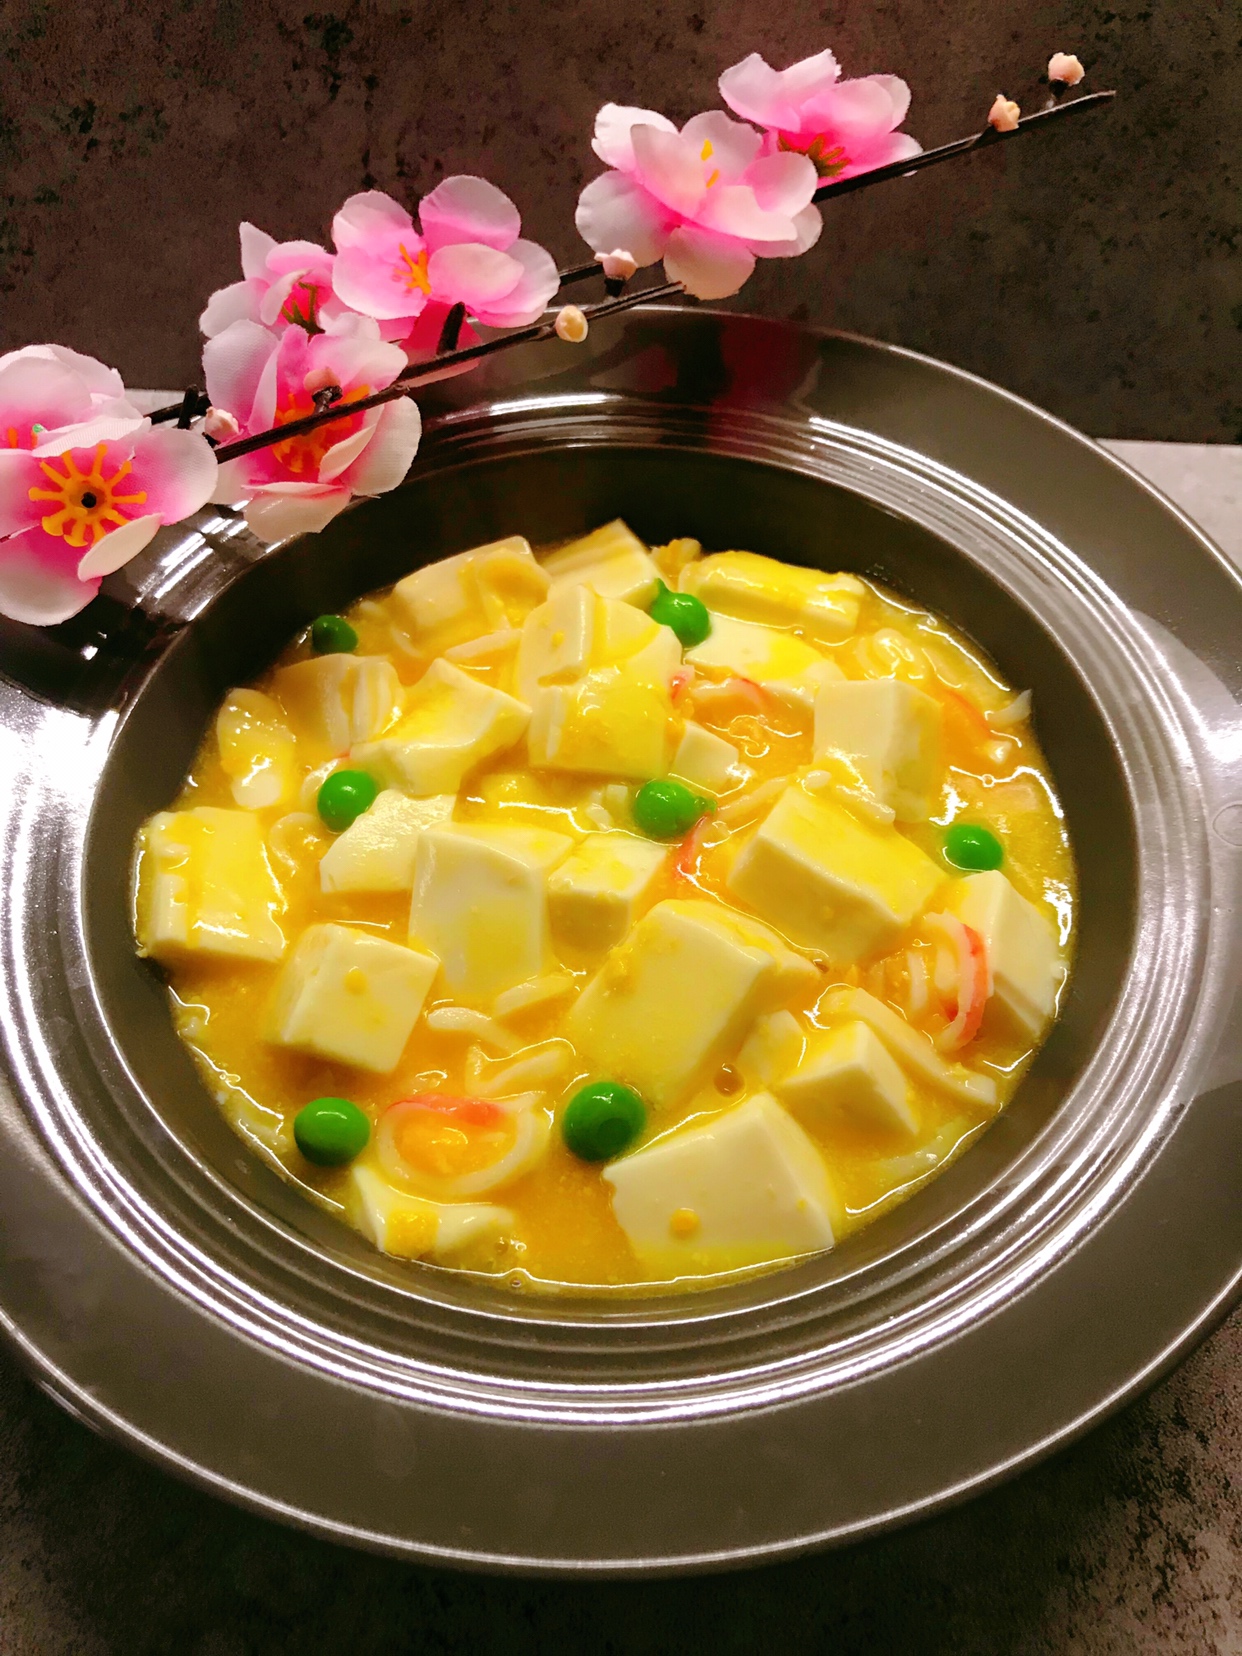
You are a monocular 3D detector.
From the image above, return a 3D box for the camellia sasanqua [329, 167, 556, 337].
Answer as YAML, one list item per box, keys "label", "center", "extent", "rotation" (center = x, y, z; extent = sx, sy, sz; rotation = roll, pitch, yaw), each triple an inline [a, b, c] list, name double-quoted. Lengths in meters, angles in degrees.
- label: "camellia sasanqua"
  center: [-0.227, -0.692, 2.024]
  extent: [0.279, 0.119, 0.194]
  rotation: [11, 86, -10]

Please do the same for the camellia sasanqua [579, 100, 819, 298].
- label: "camellia sasanqua"
  center: [0.089, -0.775, 1.974]
  extent: [0.282, 0.176, 0.202]
  rotation: [3, 84, 3]

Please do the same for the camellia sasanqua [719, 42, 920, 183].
- label: "camellia sasanqua"
  center: [0.244, -0.895, 2.089]
  extent: [0.230, 0.236, 0.085]
  rotation: [5, 88, 35]

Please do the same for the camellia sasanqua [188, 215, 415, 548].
- label: "camellia sasanqua"
  center: [-0.369, -0.520, 2.007]
  extent: [0.316, 0.197, 0.354]
  rotation: [-18, 79, 15]
